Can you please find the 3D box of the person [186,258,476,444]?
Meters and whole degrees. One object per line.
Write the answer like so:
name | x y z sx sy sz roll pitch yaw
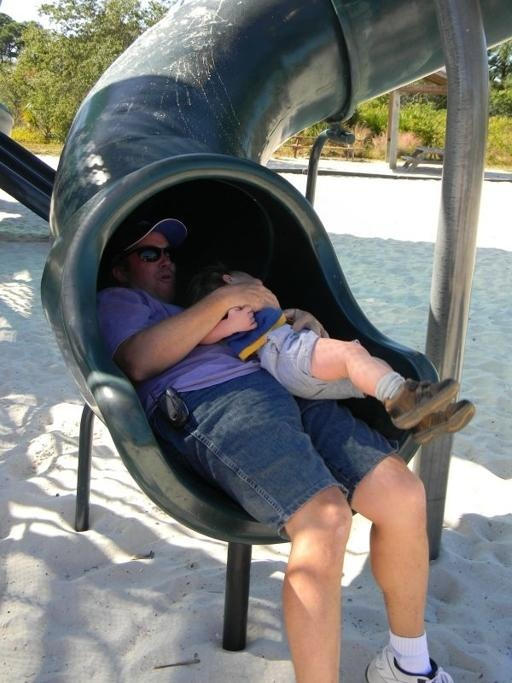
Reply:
person | 0.171 0.042 1.581 0.723 0.233 0.292 32 23 31

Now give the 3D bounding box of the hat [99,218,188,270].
hat | -0.326 -0.302 1.847 0.217 0.064 0.134 -31 -7 30

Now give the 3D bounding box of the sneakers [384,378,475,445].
sneakers | 0.369 0.138 1.335 0.123 0.176 0.084 16 37 -48
